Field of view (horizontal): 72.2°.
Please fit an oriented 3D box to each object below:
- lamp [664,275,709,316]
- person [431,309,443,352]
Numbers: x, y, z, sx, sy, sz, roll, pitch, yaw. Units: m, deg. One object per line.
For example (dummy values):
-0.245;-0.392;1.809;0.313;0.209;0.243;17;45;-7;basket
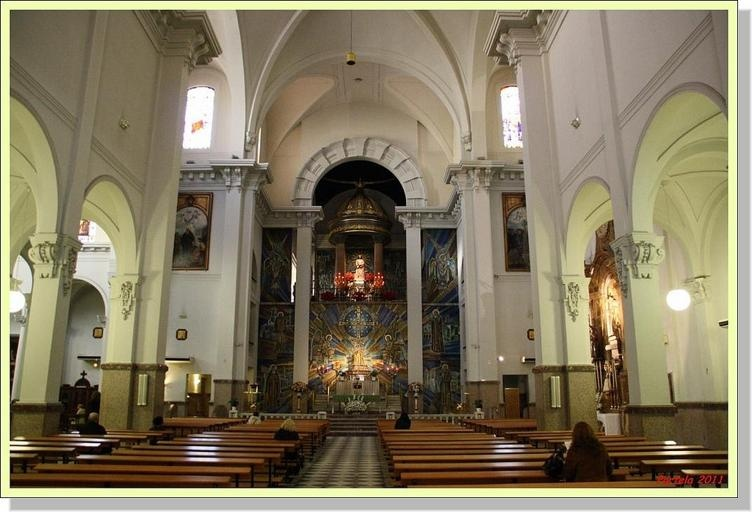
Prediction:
7.902;0.989;13.043;1.094;0.482;0.540;-22;11;-15;lamp
2.961;3.560;24.663;0.529;2.071;0.189;-2;-15;5;person
